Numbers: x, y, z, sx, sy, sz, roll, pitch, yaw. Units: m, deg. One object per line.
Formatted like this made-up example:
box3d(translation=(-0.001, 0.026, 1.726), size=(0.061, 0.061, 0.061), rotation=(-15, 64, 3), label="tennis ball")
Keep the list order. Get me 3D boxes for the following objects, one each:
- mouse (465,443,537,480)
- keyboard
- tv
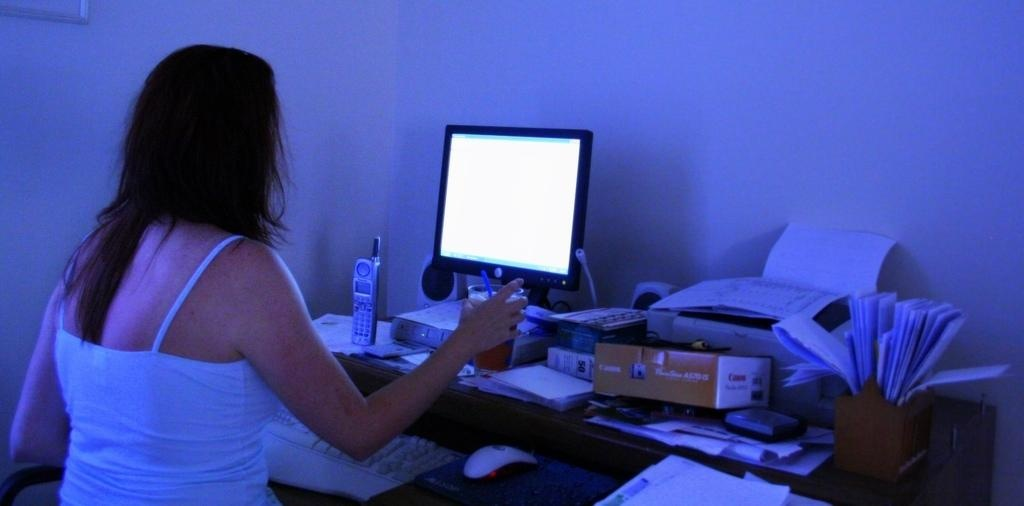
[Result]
box3d(translation=(-0.031, 0.606, 2.088), size=(0.245, 0.068, 0.145), rotation=(-2, 6, -38), label="mouse")
box3d(translation=(-0.526, 0.604, 2.363), size=(0.549, 0.320, 0.533), rotation=(1, -1, -19), label="keyboard")
box3d(translation=(0.016, -0.145, 2.627), size=(0.795, 0.669, 0.264), rotation=(7, -1, 30), label="tv")
